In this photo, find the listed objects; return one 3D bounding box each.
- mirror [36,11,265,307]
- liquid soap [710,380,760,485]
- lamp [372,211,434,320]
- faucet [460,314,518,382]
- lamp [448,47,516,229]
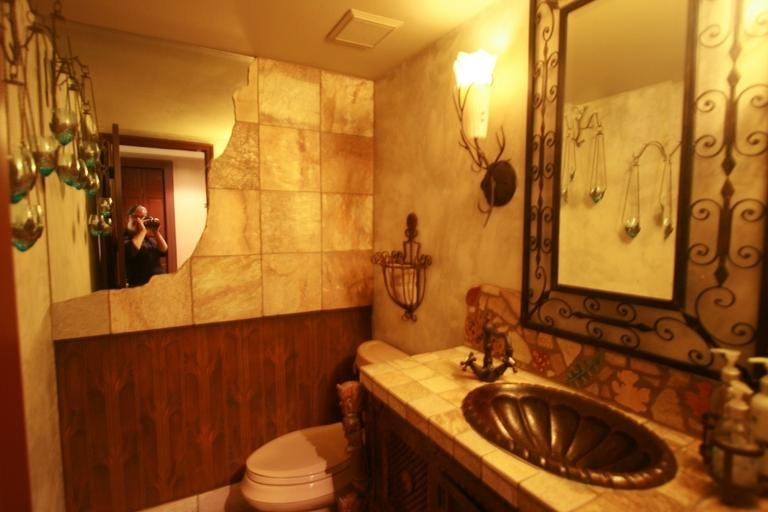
[{"bbox_3d":[-1.285,-0.545,3.196,1.456,1.721,0.178,-1,2,-32],"label":"mirror"},{"bbox_3d":[1.263,0.643,2.160,0.147,0.362,0.097,-5,4,-15],"label":"liquid soap"},{"bbox_3d":[0.070,0.069,3.486,0.246,0.624,0.437,-6,4,-24],"label":"lamp"},{"bbox_3d":[0.481,0.437,2.743,0.308,0.303,0.305,7,-5,-31],"label":"faucet"},{"bbox_3d":[0.479,-0.579,2.957,0.362,0.839,0.229,-1,5,32],"label":"lamp"}]
